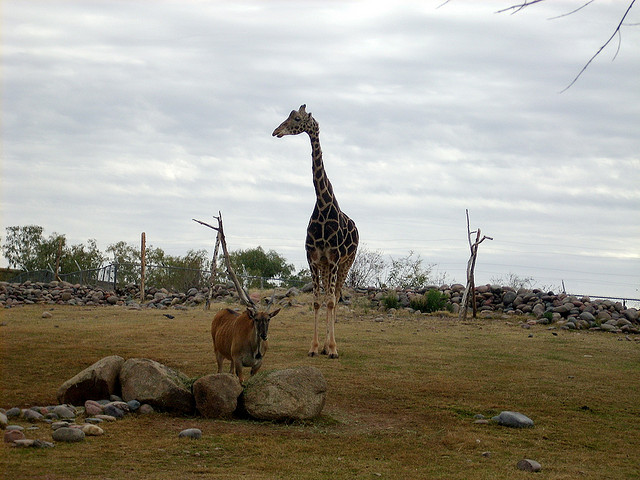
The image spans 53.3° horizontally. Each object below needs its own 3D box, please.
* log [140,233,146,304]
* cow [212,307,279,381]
[{"bbox_3d":[-9.839,1.457,35.027,0.349,3.774,1.633,4,-4,-16],"label":"log"},{"bbox_3d":[-1.697,2.098,13.293,0.715,1.449,1.999,5,-4,-25],"label":"cow"}]
